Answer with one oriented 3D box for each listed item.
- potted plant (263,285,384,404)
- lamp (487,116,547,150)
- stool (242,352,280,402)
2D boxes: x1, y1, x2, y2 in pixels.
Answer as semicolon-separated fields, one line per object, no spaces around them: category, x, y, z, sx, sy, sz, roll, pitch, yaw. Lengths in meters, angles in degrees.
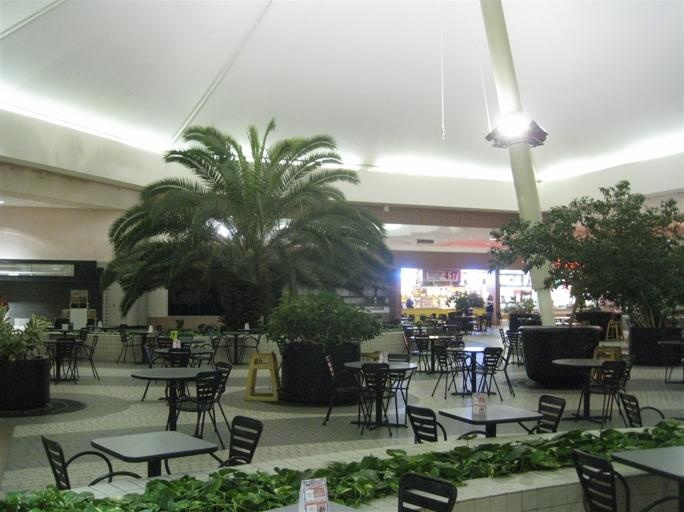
potted plant;-0.343;1.710;10.470;1.964;2.044;1.841;1;-11;-3
lamp;5.086;-3.593;15.353;1.282;0.982;1.249;-4;-8;31
stool;-1.569;2.411;10.529;0.806;1.173;0.880;0;-11;-1
